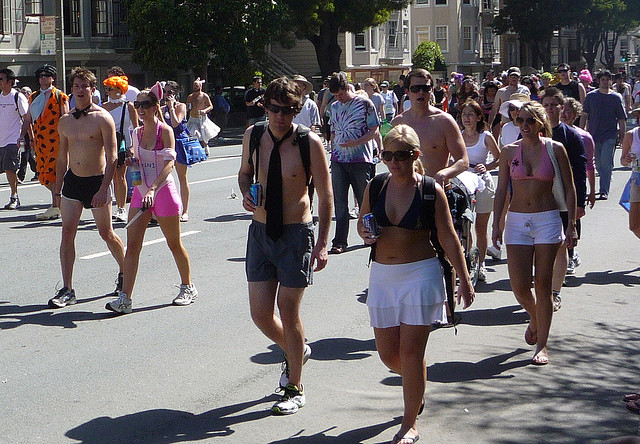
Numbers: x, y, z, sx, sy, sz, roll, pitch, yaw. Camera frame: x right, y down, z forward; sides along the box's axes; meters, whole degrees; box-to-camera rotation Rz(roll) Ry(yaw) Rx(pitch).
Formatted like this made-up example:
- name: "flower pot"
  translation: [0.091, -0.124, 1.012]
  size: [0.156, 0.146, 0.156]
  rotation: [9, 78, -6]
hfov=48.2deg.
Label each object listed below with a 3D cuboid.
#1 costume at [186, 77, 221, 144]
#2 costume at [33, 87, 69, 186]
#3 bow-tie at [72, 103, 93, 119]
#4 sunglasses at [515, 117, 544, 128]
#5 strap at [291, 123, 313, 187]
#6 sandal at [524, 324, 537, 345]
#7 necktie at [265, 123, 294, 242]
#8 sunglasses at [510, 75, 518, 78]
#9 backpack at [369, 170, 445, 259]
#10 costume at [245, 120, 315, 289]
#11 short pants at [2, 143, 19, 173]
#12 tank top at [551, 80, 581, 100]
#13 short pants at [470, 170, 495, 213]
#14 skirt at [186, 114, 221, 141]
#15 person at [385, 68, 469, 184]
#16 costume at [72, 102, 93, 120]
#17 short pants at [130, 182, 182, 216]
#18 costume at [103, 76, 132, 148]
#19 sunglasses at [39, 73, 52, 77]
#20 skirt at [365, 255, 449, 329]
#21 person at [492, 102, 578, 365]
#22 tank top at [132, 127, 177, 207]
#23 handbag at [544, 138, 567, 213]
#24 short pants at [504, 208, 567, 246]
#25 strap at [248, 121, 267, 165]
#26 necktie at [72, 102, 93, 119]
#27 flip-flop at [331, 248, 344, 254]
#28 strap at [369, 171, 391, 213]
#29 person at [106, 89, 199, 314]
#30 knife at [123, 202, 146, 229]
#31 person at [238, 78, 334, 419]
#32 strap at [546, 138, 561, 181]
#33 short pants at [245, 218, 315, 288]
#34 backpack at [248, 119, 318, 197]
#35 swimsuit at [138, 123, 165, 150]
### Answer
- name: "costume"
  translation: [-3.376, -3.062, 19.653]
  size: [0.994, 1.614, 1.036]
  rotation: [1, -27, -12]
- name: "costume"
  translation: [-5.028, -1.588, 13.184]
  size: [0.665, 1.786, 0.345]
  rotation: [5, 11, 24]
- name: "bow-tie"
  translation: [-2.868, -1.340, 8.598]
  size: [0.137, 0.088, 0.206]
  rotation: [-10, 17, 10]
- name: "sunglasses"
  translation: [2.102, -1.002, 7.096]
  size: [0.285, 0.086, 0.061]
  rotation: [-1, 11, -7]
- name: "strap"
  translation: [-0.129, -0.590, 6.087]
  size: [0.137, 0.480, 0.151]
  rotation: [1, 14, 3]
- name: "sandal"
  translation: [2.153, 1.156, 7.296]
  size: [0.099, 0.194, 0.149]
  rotation: [2, 11, 12]
- name: "necktie"
  translation: [-0.350, -0.273, 5.987]
  size: [0.150, 0.801, 0.172]
  rotation: [-1, -20, 4]
- name: "sunglasses"
  translation: [4.221, -3.181, 15.512]
  size: [0.191, 0.054, 0.064]
  rotation: [-4, 12, -20]
- name: "backpack"
  translation: [0.676, -0.036, 5.494]
  size: [0.529, 0.806, 0.373]
  rotation: [6, 7, 40]
- name: "costume"
  translation: [-0.354, 0.075, 6.106]
  size: [0.553, 1.919, 0.406]
  rotation: [1, 10, 0]
- name: "short pants"
  translation: [-6.187, -1.292, 14.318]
  size: [0.315, 0.560, 0.402]
  rotation: [-4, 12, -23]
- name: "tank top"
  translation: [5.850, -3.100, 16.776]
  size: [0.610, 0.429, 0.458]
  rotation: [0, 11, -2]
- name: "short pants"
  translation: [2.115, -0.365, 9.190]
  size: [0.235, 0.542, 1.002]
  rotation: [3, 12, 15]
- name: "skirt"
  translation: [-3.164, -2.580, 19.383]
  size: [0.909, 0.729, 0.904]
  rotation: [-7, 12, -18]
- name: "person"
  translation: [1.128, -0.861, 8.075]
  size: [1.064, 1.726, 0.853]
  rotation: [4, 15, 26]
- name: "costume"
  translation: [-2.858, -1.343, 8.582]
  size: [0.127, 0.086, 0.167]
  rotation: [-15, 17, 26]
- name: "short pants"
  translation: [-1.876, -0.265, 8.182]
  size: [0.552, 0.359, 0.367]
  rotation: [-2, 11, -11]
- name: "costume"
  translation: [-3.581, -1.677, 12.700]
  size: [0.569, 1.773, 0.541]
  rotation: [3, 7, -6]
- name: "sunglasses"
  translation: [-4.762, -2.575, 12.453]
  size: [0.204, 0.067, 0.094]
  rotation: [-6, 13, -26]
- name: "skirt"
  translation: [0.654, 0.563, 5.504]
  size: [0.546, 0.541, 0.217]
  rotation: [1, 10, 5]
- name: "person"
  translation: [2.100, 0.064, 7.097]
  size: [0.767, 2.425, 0.761]
  rotation: [6, 12, 32]
- name: "tank top"
  translation: [-1.917, -0.656, 8.330]
  size: [0.365, 0.878, 0.596]
  rotation: [0, 17, 2]
- name: "handbag"
  translation: [2.350, -0.454, 7.093]
  size: [0.128, 0.603, 0.305]
  rotation: [-4, 7, -15]
- name: "short pants"
  translation: [2.120, 0.052, 7.068]
  size: [0.562, 0.354, 0.216]
  rotation: [4, 11, 19]
- name: "strap"
  translation: [-0.524, -0.695, 6.197]
  size: [0.193, 0.316, 0.300]
  rotation: [1, -26, 7]
- name: "necktie"
  translation: [-2.858, -1.337, 8.570]
  size: [0.114, 0.090, 0.177]
  rotation: [-13, 18, 14]
- name: "flip-flop"
  translation: [0.264, 0.438, 10.815]
  size: [0.171, 0.072, 0.113]
  rotation: [1, 12, 2]
- name: "strap"
  translation: [0.506, -0.272, 5.638]
  size: [0.184, 0.185, 0.122]
  rotation: [17, 16, -35]
- name: "person"
  translation: [-1.892, -0.269, 8.270]
  size: [0.884, 2.473, 0.992]
  rotation: [-1, 10, -3]
- name: "knife"
  translation: [-2.210, -0.065, 8.577]
  size: [0.042, 0.521, 0.075]
  rotation: [17, -23, 43]
- name: "person"
  translation: [-0.288, 0.177, 6.017]
  size: [0.793, 2.705, 0.718]
  rotation: [0, 10, -1]
- name: "strap"
  translation: [2.311, -0.621, 7.108]
  size: [0.105, 0.404, 0.173]
  rotation: [-4, 11, -23]
- name: "short pants"
  translation: [-0.328, 0.264, 6.012]
  size: [0.550, 0.521, 0.282]
  rotation: [-1, 10, -6]
- name: "backpack"
  translation: [-0.322, -0.494, 5.994]
  size: [0.466, 0.617, 0.448]
  rotation: [9, 12, -14]
- name: "swimsuit"
  translation: [-1.965, -0.979, 8.374]
  size: [0.302, 0.377, 0.246]
  rotation: [2, 7, -5]
